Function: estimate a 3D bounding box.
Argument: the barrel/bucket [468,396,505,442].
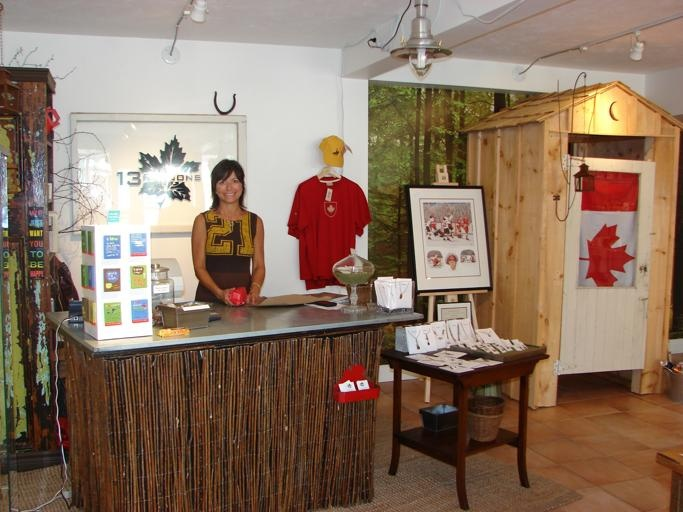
[{"bbox_3d":[0.999,1.124,3.736,0.261,0.276,0.208,1,7,0],"label":"barrel/bucket"}]

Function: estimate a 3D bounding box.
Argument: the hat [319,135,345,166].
[{"bbox_3d":[-0.065,-1.090,5.614,0.308,0.329,0.251,0,7,-9],"label":"hat"}]

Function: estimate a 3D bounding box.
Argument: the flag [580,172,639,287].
[{"bbox_3d":[2.709,-0.264,5.464,0.681,1.171,0.163,-2,7,-22],"label":"flag"}]

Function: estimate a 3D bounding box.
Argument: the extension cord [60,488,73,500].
[{"bbox_3d":[-1.865,1.633,3.706,0.077,0.015,0.072,15,23,30],"label":"extension cord"}]

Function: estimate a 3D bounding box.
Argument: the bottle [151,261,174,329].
[{"bbox_3d":[-1.063,0.227,3.268,0.132,0.342,0.316,-2,7,-17],"label":"bottle"}]

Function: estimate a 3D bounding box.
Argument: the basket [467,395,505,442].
[{"bbox_3d":[0.986,1.116,3.681,0.272,0.211,0.274,0,-6,-4],"label":"basket"}]

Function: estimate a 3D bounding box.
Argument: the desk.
[{"bbox_3d":[0.852,1.025,4.104,1.210,0.972,1.082,-3,4,-35],"label":"desk"}]

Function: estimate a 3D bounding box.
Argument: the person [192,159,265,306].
[{"bbox_3d":[-0.803,-0.182,4.124,0.543,1.081,0.446,-3,8,-26],"label":"person"}]

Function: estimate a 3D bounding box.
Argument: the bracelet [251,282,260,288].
[{"bbox_3d":[-0.628,0.219,4.055,0.044,0.050,0.026,2,15,-2],"label":"bracelet"}]

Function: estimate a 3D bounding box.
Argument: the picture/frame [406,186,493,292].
[{"bbox_3d":[1.060,-0.166,5.271,0.884,1.033,0.261,-2,7,-24],"label":"picture/frame"}]
